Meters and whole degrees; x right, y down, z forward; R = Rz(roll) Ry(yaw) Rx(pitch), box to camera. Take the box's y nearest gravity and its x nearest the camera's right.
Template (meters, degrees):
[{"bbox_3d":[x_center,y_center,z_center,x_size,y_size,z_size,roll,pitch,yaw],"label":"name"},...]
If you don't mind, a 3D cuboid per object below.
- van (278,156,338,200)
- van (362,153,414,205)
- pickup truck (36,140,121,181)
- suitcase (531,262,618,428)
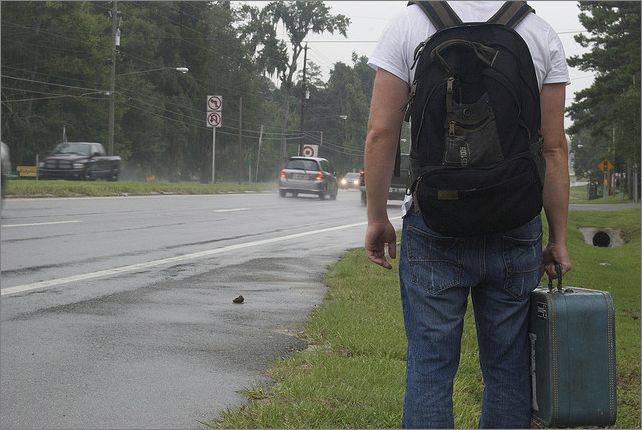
[{"bbox_3d":[-0.427,-2.121,31.939,1.749,1.481,3.159,1,7,10],"label":"van"},{"bbox_3d":[2.836,-1.362,25.857,1.901,1.753,3.618,0,6,9],"label":"van"},{"bbox_3d":[-12.691,-2.840,31.658,1.879,2.107,3.778,4,1,34],"label":"pickup truck"},{"bbox_3d":[1.241,0.717,2.969,0.424,0.724,0.160,4,0,25],"label":"suitcase"}]
